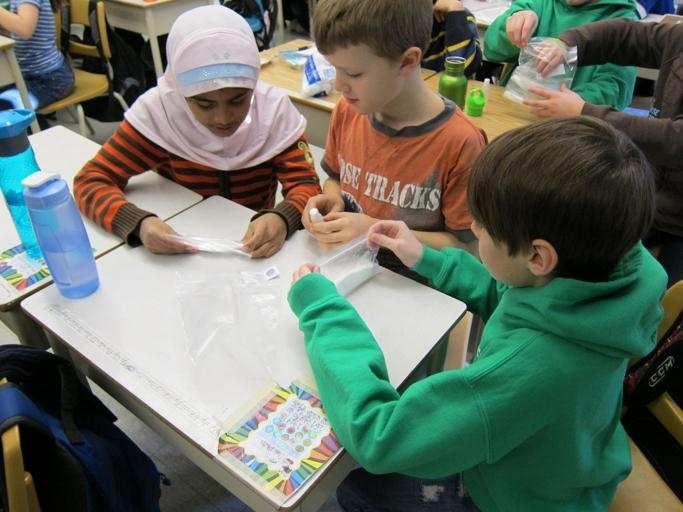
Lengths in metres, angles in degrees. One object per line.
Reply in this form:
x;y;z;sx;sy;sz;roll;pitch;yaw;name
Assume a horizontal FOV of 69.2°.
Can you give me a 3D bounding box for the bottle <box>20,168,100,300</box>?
-0.675;-0.044;1.196;0.108;0.305;0.083;7;30;8;bottle
